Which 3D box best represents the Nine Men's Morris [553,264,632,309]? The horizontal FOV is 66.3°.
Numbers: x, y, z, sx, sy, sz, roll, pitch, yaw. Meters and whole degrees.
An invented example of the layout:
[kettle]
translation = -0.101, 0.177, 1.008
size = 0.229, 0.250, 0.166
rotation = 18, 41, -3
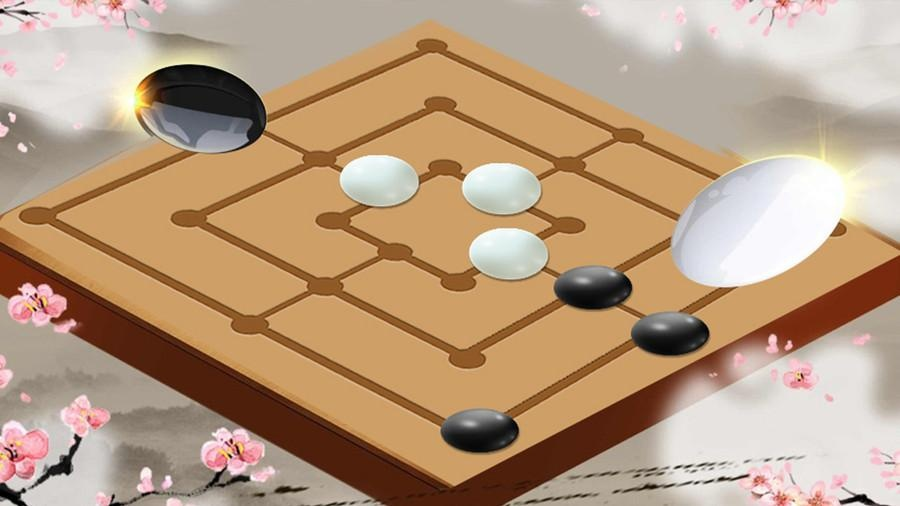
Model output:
[Nine Men's Morris]
translation = 0.462, 0.113, 2.244
size = 0.247, 0.087, 0.131
rotation = 1, -79, 1
